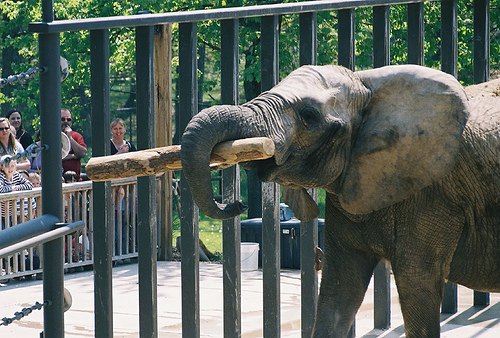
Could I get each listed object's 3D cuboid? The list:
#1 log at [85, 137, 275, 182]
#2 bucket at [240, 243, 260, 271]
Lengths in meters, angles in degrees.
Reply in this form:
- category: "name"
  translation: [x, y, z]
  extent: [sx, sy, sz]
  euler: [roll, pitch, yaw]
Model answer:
- category: "log"
  translation: [-0.629, -0.094, 10.308]
  extent: [1.273, 0.288, 0.227]
  euler: [-11, 37, 4]
- category: "bucket"
  translation: [0.018, 1.127, 14.898]
  extent: [0.422, 0.373, 0.419]
  euler: [0, -4, 0]
